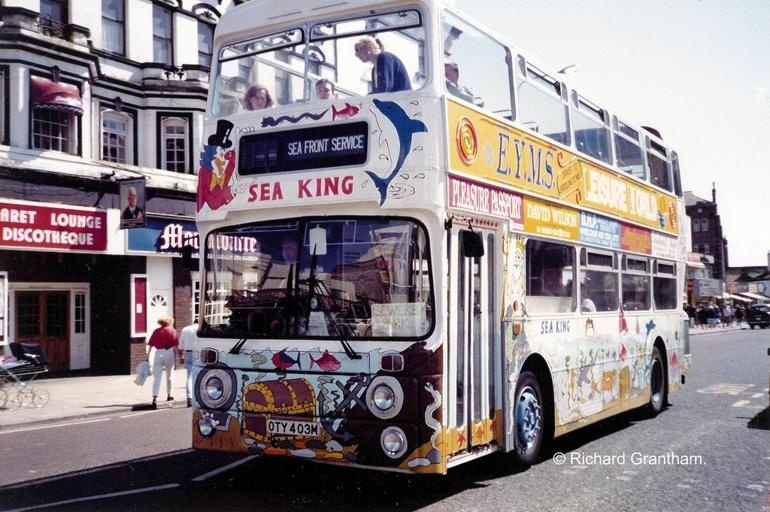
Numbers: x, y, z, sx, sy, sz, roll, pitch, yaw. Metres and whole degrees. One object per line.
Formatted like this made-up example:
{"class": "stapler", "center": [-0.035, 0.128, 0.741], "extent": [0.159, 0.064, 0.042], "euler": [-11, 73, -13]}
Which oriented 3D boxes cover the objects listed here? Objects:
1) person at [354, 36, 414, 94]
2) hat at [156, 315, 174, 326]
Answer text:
{"class": "person", "center": [-0.056, -2.653, 9.830], "extent": [0.668, 0.860, 0.594], "euler": [-8, 1, -1]}
{"class": "hat", "center": [-5.440, 1.548, 17.390], "extent": [0.277, 0.354, 0.345], "euler": [7, 7, 6]}
